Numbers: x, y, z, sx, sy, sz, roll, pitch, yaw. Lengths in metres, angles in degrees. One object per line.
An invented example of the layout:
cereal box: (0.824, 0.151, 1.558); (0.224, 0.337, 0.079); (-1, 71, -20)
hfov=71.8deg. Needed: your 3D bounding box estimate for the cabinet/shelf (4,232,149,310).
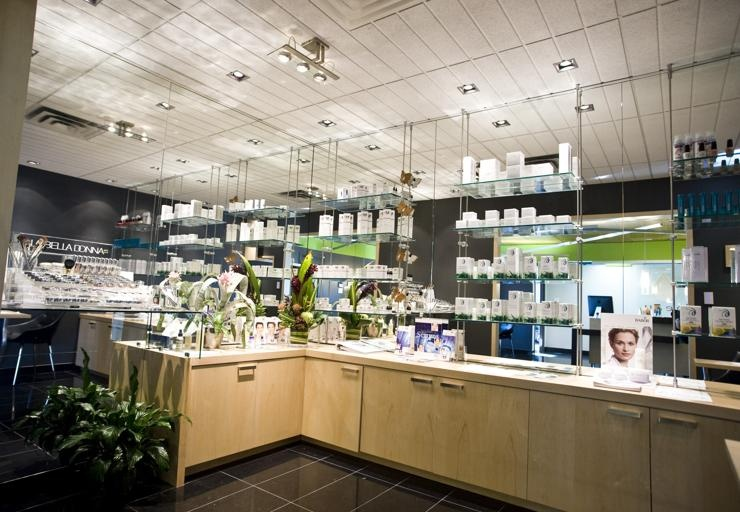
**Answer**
cabinet/shelf: (-2.783, 0.101, 4.638); (0.841, 0.446, 0.852); (-2, -6, 41)
